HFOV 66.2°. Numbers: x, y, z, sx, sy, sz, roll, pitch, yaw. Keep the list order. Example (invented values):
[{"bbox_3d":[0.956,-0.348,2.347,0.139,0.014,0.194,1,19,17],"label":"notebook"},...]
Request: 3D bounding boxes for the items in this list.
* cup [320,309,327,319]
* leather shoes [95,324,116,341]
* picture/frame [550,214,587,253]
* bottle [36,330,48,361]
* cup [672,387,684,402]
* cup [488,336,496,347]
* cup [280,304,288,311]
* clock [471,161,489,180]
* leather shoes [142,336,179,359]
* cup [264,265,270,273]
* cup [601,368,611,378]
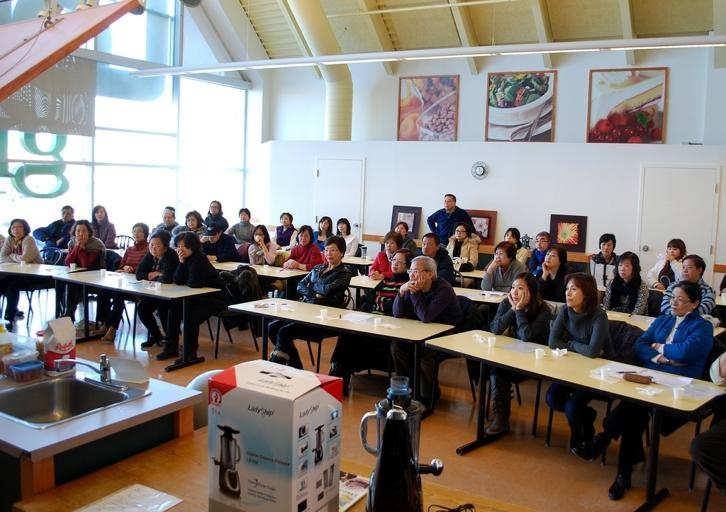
[{"bbox_3d":[-0.371,0.558,5.341,0.070,0.075,0.066,2,-3,0],"label":"cup"},{"bbox_3d":[-3.198,0.963,6.949,0.115,0.151,0.381,2,-7,44],"label":"leather shoes"},{"bbox_3d":[3.364,-0.359,9.019,0.638,0.728,0.051,4,3,28],"label":"picture/frame"},{"bbox_3d":[-1.822,0.495,3.154,0.053,0.148,0.233,-4,11,-31],"label":"bottle"},{"bbox_3d":[2.029,0.888,3.570,0.071,0.065,0.077,-1,-3,0],"label":"cup"},{"bbox_3d":[1.063,0.703,4.582,0.063,0.059,0.067,0,-3,0],"label":"cup"},{"bbox_3d":[-0.796,0.520,5.642,0.054,0.053,0.054,0,-3,0],"label":"cup"},{"bbox_3d":[2.052,-1.490,9.773,0.298,0.308,0.051,7,11,29],"label":"clock"},{"bbox_3d":[-2.270,1.065,6.390,0.234,0.161,0.447,3,3,-34],"label":"leather shoes"},{"bbox_3d":[-1.323,0.176,7.632,0.088,0.090,0.131,3,-4,-1],"label":"cup"},{"bbox_3d":[1.696,0.823,3.886,0.046,0.058,0.059,-8,-12,19],"label":"cup"}]
